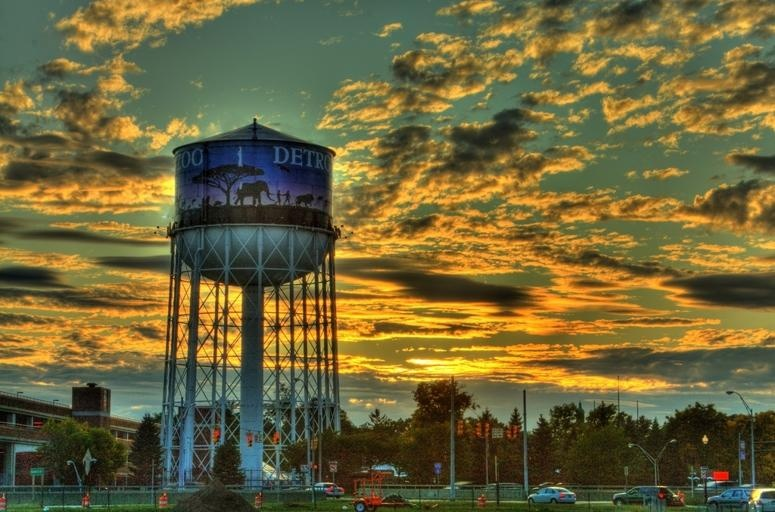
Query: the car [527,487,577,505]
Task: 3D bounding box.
[{"bbox_3d":[18.418,26.932,120.306,4.941,1.929,3.904,-5,-16,23],"label":"car"}]
